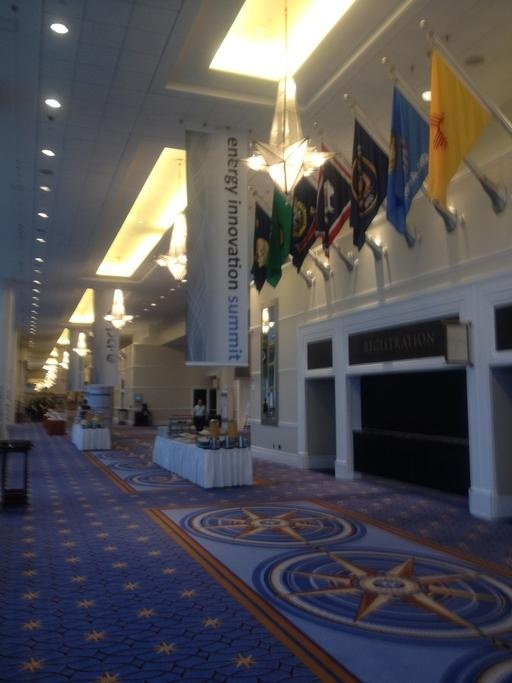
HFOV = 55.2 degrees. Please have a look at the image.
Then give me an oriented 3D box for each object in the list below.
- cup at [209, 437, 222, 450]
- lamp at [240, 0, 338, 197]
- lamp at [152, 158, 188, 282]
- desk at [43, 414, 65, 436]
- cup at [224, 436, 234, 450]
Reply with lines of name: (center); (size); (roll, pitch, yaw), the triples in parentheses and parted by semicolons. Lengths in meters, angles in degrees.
cup: (-0.648, 1.656, 7.925); (0.102, 0.219, 0.206); (1, -3, -1)
lamp: (0.331, -2.638, 5.212); (0.772, 2.277, 1.113); (-3, -5, 23)
lamp: (-1.741, -2.186, 10.479); (0.494, 2.109, 3.740); (0, -6, -9)
desk: (-8.543, 3.581, 20.940); (0.754, 0.736, 3.463); (0, -7, -22)
cup: (-0.420, 1.651, 7.950); (0.130, 0.244, 0.168); (0, -1, -2)
